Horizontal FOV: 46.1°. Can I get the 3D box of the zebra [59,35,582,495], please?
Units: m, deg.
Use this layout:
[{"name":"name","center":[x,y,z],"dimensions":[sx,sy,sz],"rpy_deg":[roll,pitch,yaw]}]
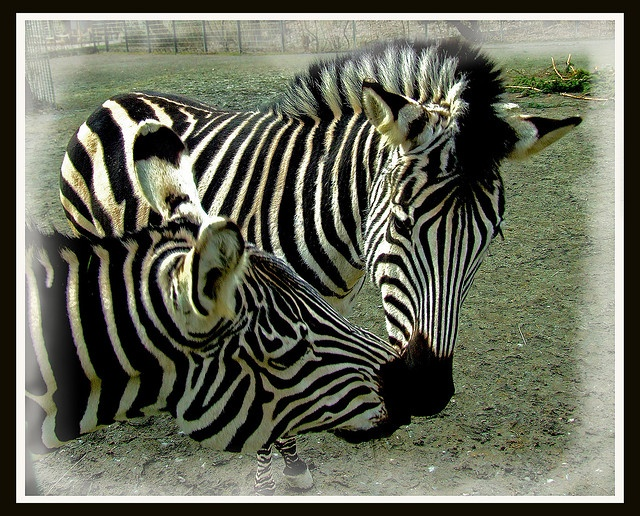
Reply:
[{"name":"zebra","center":[-0.491,-0.119,5.839],"dimensions":[1.285,3.305,3.983],"rpy_deg":[-2,18,-44]}]
